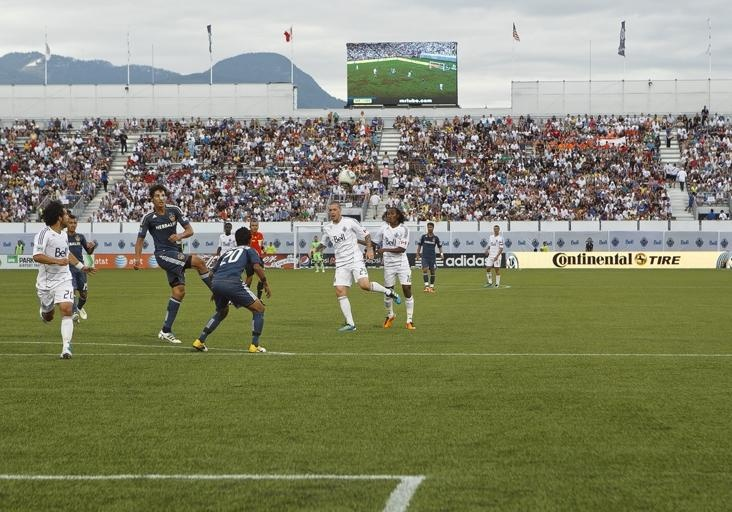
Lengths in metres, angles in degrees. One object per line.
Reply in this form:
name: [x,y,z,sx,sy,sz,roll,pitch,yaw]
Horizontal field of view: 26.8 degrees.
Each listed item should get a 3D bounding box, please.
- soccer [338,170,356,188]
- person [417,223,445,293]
soccer: [-1.066,-4.020,81.416,0.754,0.729,0.753,-34,21,-17]
person: [2.740,0.115,66.929,1.187,2.978,1.279,0,1,1]
